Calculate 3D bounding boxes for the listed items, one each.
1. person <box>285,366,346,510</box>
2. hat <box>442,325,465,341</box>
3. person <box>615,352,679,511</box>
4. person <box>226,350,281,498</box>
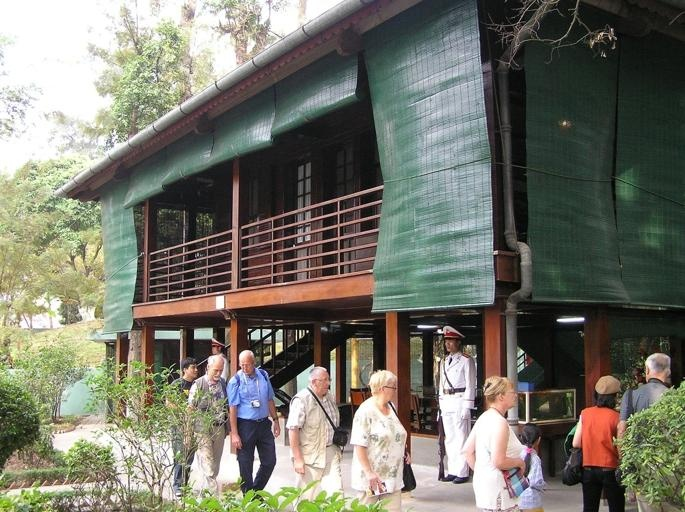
[{"bbox_3d":[-0.323,2.084,8.196,0.639,1.455,0.519,-2,-11,0],"label":"person"},{"bbox_3d":[1.747,1.220,10.737,0.378,0.199,0.347,11,-15,-37],"label":"hat"},{"bbox_3d":[3.376,1.950,7.570,0.618,1.723,0.792,-7,-12,23],"label":"person"},{"bbox_3d":[-1.242,2.263,9.417,0.713,1.893,0.467,2,-12,-20],"label":"person"}]
